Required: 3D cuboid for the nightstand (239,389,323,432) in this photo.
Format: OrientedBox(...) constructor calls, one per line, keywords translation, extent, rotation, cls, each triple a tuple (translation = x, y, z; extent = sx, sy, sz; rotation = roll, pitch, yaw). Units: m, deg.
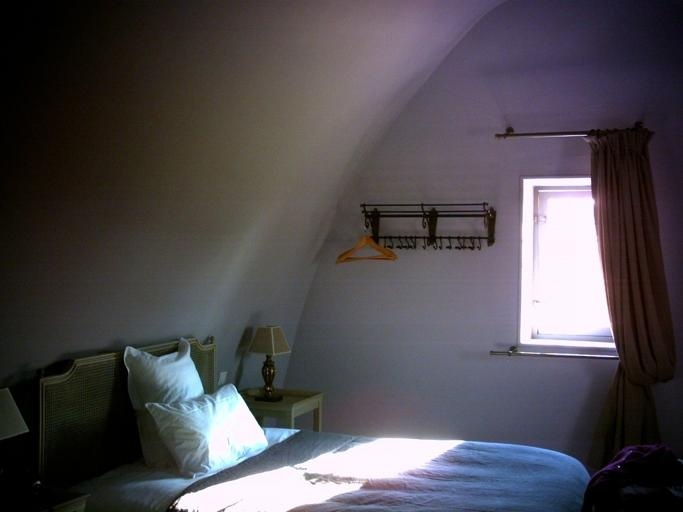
OrientedBox(translation=(-0.443, 1.137, 4.266), extent=(0.392, 0.438, 0.421), rotation=(-2, 0, 24), cls="nightstand")
